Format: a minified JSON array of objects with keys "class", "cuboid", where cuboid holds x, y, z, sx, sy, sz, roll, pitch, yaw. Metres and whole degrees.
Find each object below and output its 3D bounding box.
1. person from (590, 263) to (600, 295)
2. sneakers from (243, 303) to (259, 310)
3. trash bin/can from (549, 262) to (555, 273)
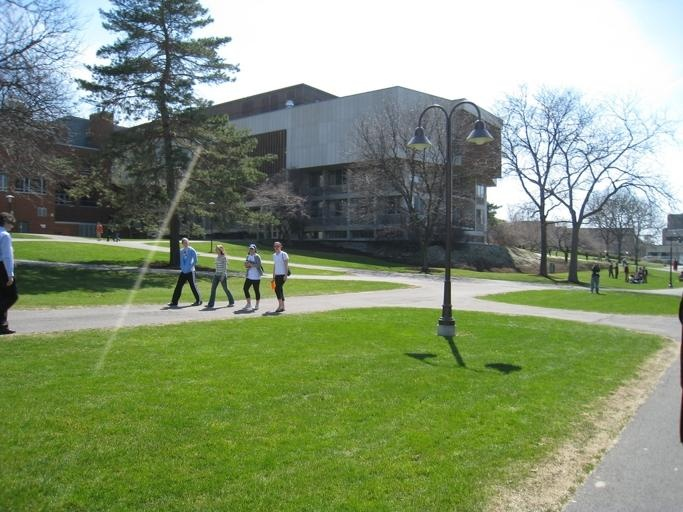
[{"class":"person","cuboid":[13.768,1.196,32.051,0.424,1.603,2.082,8,10,23]},{"class":"sneakers","cuboid":[-2.690,1.529,17.796,0.566,0.251,0.189,3,-8,-9]},{"class":"trash bin/can","cuboid":[19.549,1.062,55.114,0.893,0.923,0.661,-1,-3,18]}]
